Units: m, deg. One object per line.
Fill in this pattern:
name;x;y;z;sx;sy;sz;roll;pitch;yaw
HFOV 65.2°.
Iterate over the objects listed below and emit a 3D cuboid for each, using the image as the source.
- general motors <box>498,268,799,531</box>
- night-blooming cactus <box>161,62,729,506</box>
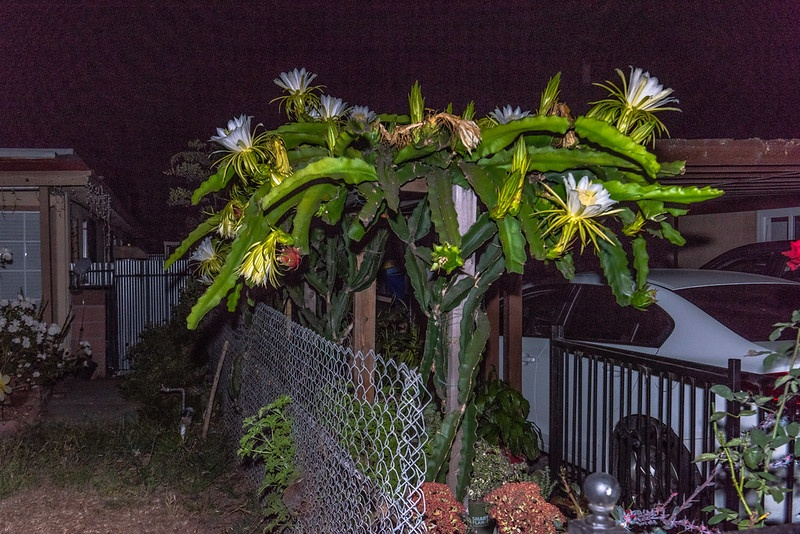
general motors;2.357;1.047;6.734;1.748;1.595;3.231;-2;7;-22
night-blooming cactus;0.180;0.444;5.665;3.911;3.904;2.718;-1;37;4
